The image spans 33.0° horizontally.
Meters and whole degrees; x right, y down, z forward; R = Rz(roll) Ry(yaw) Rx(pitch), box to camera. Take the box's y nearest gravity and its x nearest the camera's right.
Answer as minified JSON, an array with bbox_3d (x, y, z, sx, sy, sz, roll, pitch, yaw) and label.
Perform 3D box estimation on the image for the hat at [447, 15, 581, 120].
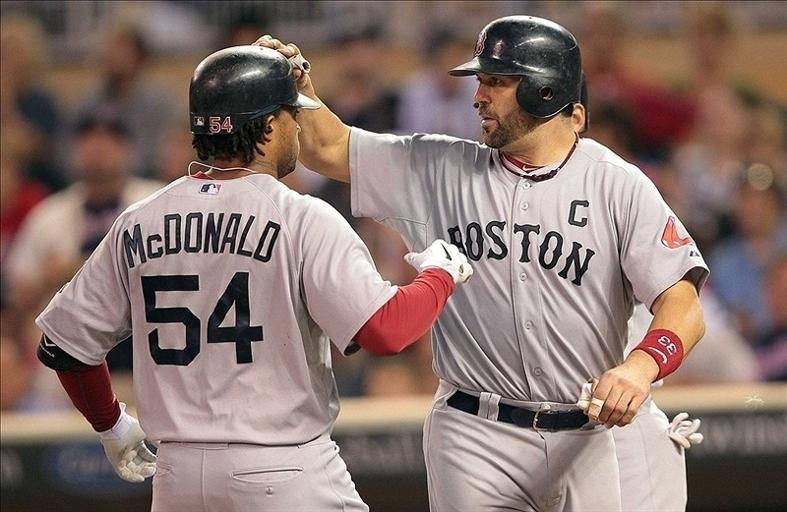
[{"bbox_3d":[0.743,-1.069,7.641,0.756,0.429,0.519,4,1,-16],"label":"hat"}]

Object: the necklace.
[{"bbox_3d":[0.788,-0.536,7.559,0.297,0.115,0.299,-11,49,10],"label":"necklace"}]

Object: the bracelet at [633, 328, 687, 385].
[{"bbox_3d":[1.421,0.518,7.215,0.225,0.293,0.243,-36,70,-19],"label":"bracelet"}]

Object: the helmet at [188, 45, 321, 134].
[{"bbox_3d":[-0.756,-0.888,7.064,0.613,0.287,0.414,-11,15,-20],"label":"helmet"}]

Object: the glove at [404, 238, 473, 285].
[{"bbox_3d":[0.252,0.025,7.160,0.289,0.127,0.243,31,29,10],"label":"glove"}]
